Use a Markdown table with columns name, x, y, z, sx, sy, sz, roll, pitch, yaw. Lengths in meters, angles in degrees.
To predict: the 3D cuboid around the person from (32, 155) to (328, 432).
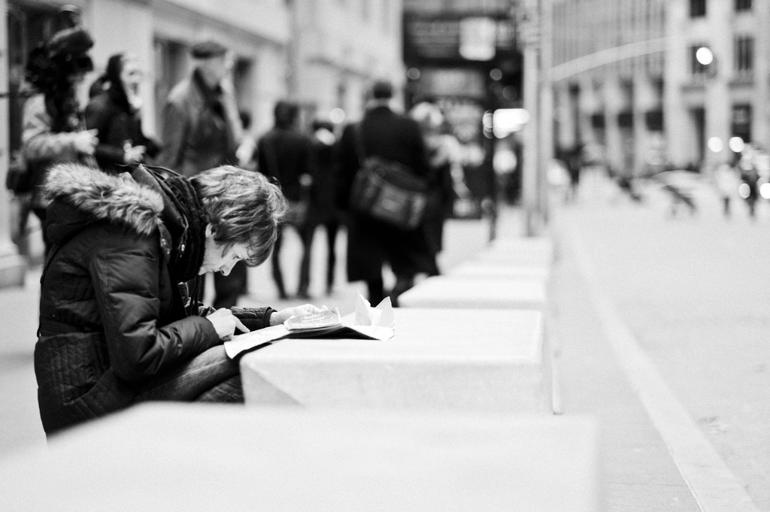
| name | x | y | z | sx | sy | sz | roll | pitch | yaw |
| --- | --- | --- | --- | --- | --- | --- | --- | --- | --- |
| person | -1.011 | 0.095 | 4.405 | 1.078 | 1.519 | 0.755 | 1 | 5 | -28 |
